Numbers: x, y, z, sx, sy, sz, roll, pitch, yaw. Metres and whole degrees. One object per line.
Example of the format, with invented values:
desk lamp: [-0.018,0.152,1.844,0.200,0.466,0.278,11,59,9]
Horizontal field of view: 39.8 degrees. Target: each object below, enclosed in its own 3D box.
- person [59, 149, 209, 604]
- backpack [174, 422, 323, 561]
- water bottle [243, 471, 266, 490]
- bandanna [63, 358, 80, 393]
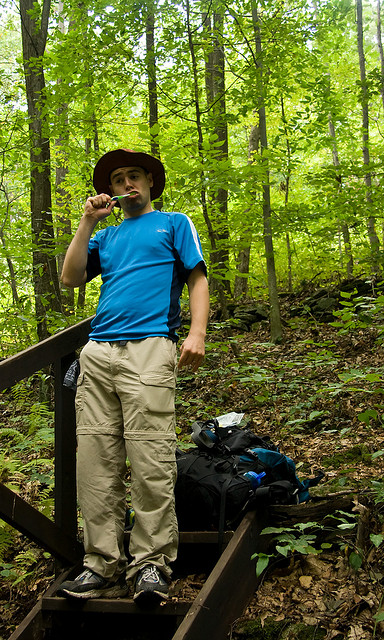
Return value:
person: [-0.266,0.156,2.455,0.726,1.958,0.871,-5,1,1]
backpack: [0.269,0.775,2.670,0.676,0.268,0.487,-22,18,-38]
water bottle: [0.313,0.761,2.566,0.059,0.070,0.138,-4,1,43]
bandanna: [-0.571,0.264,2.532,0.082,0.153,0.149,-5,1,-15]
